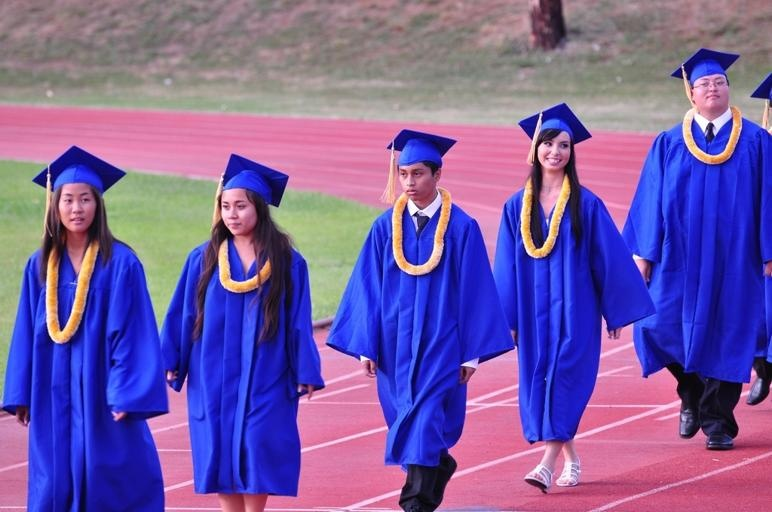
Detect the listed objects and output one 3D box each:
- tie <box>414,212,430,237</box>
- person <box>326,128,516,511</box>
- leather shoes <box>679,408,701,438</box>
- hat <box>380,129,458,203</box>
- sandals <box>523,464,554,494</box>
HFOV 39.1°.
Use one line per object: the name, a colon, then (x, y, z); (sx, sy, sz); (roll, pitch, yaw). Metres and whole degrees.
tie: (0.255, -0.245, 7.981); (0.157, 0.135, 0.044); (9, -2, 9)
person: (0.266, 0.461, 7.988); (1.015, 2.698, 0.986); (-13, 19, -34)
leather shoes: (2.529, 1.390, 9.131); (0.109, 0.295, 0.135); (1, -22, 32)
hat: (0.247, -0.651, 8.078); (0.545, 0.472, 0.398); (0, -5, -17)
sandals: (1.144, 1.657, 8.142); (0.136, 0.107, 0.301); (17, -9, 17)
